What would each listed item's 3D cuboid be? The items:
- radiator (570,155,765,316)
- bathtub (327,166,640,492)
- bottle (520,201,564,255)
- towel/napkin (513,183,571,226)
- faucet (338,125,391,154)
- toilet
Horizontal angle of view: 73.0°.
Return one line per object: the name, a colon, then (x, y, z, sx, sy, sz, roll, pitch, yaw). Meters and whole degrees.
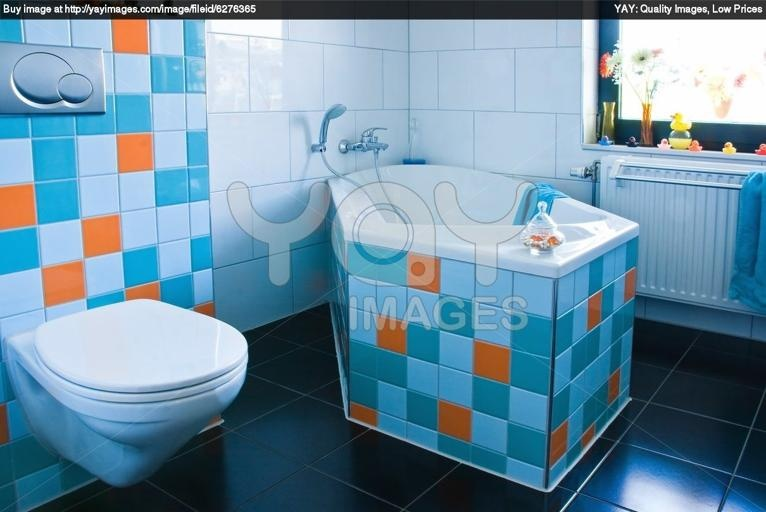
radiator: (1.561, -0.161, 3.076, 1.228, 1.055, 0.709, 6, 10, 36)
bathtub: (0.321, 0.317, 2.378, 1.349, 0.835, 1.341, 13, 23, 35)
bottle: (0.565, -0.110, 1.846, 0.177, 0.198, 0.180, 2, 9, 16)
towel/napkin: (0.825, -0.301, 2.751, 0.201, 0.121, 0.337, -5, 15, 27)
faucet: (-0.132, -0.545, 2.449, 0.328, 0.179, 0.127, 8, 14, 37)
toilet: (-0.843, 0.440, 1.802, 0.711, 0.457, 0.560, 18, 24, 31)
